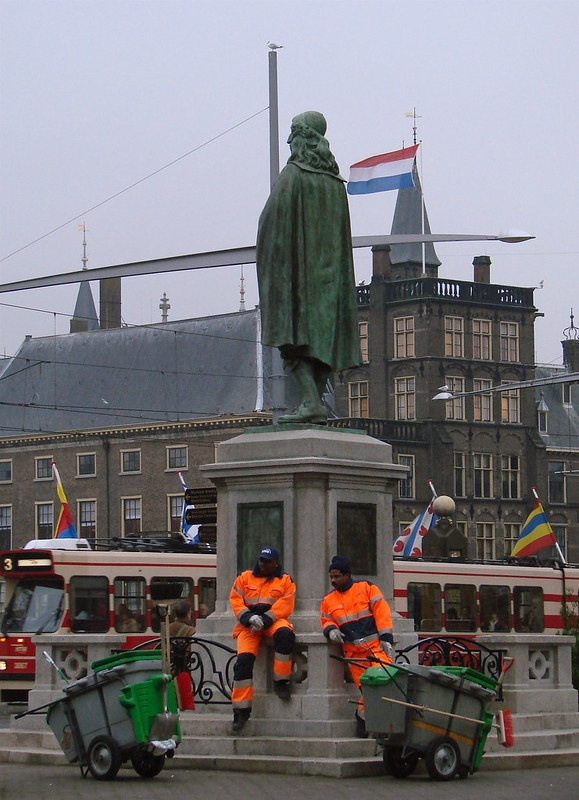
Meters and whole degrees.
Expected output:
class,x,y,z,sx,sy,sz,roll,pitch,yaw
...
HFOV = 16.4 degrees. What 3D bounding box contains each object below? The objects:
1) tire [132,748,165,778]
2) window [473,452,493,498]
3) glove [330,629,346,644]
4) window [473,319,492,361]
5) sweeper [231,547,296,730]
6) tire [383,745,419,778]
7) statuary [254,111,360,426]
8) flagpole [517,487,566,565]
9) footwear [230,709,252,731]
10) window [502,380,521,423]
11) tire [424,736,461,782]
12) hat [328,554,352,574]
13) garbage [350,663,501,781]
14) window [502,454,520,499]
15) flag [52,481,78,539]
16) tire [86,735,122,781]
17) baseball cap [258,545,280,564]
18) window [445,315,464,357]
class,x,y,z,sx,sy,sz,roll,pitch,yaw
tire,-1.052,2.728,15.161,0.225,0.255,0.233,1,-3,32
window,7.720,3.019,79.835,0.183,2.599,1.414,-7,-11,39
glove,0.396,1.874,15.964,0.109,0.090,0.049,26,48,22
window,7.831,-2.484,81.405,0.133,1.881,1.491,0,3,41
sweeper,-0.219,1.907,16.172,0.527,1.432,0.567,-2,-13,-8
tire,0.859,2.722,15.198,0.280,0.246,0.209,0,-6,-14
statuary,0.177,-1.148,17.778,0.375,3.300,0.715,5,-13,-22
flagpole,4.171,2.053,33.889,0.867,1.933,0.114,-3,-47,1
footwear,-0.385,2.548,16.057,0.081,0.116,0.257,-10,1,6
window,8.621,0.103,77.725,0.126,1.807,1.456,0,4,41
tire,1.159,2.691,15.129,0.107,0.325,0.371,-6,-7,44
hat,0.416,1.314,16.149,0.107,0.129,0.153,-1,-13,16
garbage,1.069,2.451,15.457,0.970,0.800,0.710,1,-3,-27
window,8.960,3.119,81.087,0.166,2.488,1.404,-7,-10,37
flag,-3.985,1.907,35.782,0.348,1.556,0.159,-10,37,-14
tire,-1.369,2.659,14.988,0.162,0.323,0.361,3,-7,-35
baseball cap,-0.137,1.243,16.090,0.197,0.139,0.190,1,-6,-21
window,6.618,-2.551,80.420,0.130,1.841,1.425,-4,-6,36
